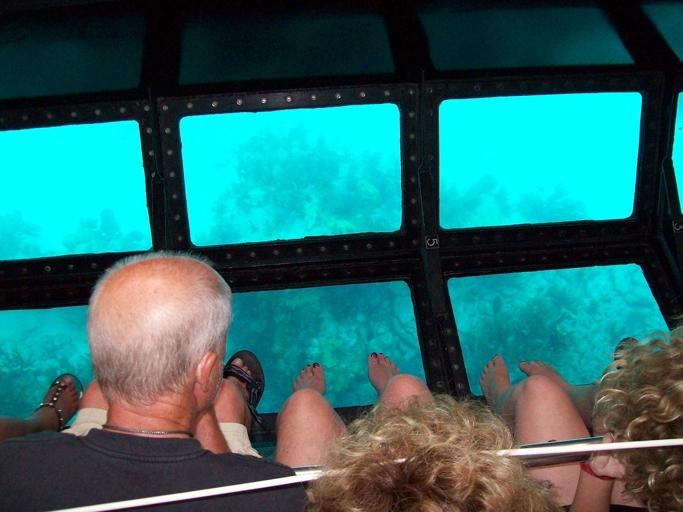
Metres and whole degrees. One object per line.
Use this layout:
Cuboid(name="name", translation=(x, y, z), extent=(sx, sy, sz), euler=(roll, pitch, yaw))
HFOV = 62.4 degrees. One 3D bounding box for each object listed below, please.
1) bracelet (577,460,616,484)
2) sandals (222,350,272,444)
Cuboid(name="bracelet", translation=(0.837, 0.721, 1.887), extent=(0.078, 0.029, 0.056), euler=(35, -12, -32))
Cuboid(name="sandals", translation=(-0.463, 0.670, 2.857), extent=(0.154, 0.477, 0.168), euler=(-13, -3, 3))
